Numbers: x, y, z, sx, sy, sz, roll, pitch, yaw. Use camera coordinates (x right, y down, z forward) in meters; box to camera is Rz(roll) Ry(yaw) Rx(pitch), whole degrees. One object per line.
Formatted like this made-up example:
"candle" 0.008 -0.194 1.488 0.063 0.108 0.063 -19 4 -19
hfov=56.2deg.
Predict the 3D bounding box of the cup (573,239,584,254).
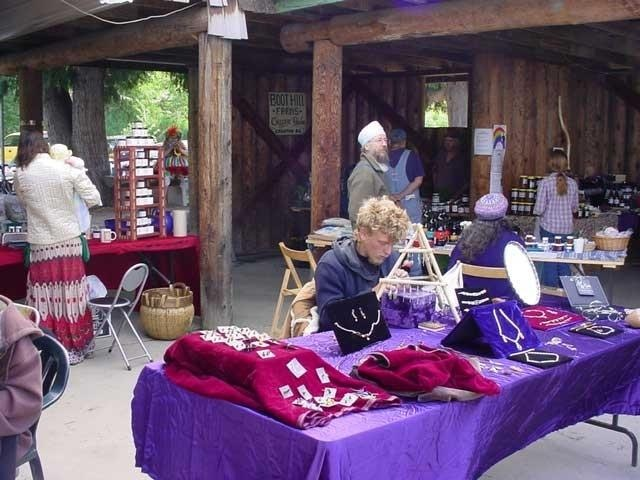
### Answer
"cup" 2.799 0.073 6.418 0.108 0.151 0.142 0 -1 -1

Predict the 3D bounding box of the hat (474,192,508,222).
"hat" 1.453 -0.308 5.112 0.192 0.174 0.277 -9 10 11

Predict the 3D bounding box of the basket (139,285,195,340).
"basket" -1.727 0.742 6.886 0.548 0.653 0.609 1 5 -3

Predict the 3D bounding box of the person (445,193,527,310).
"person" 1.465 0.096 5.257 0.567 1.339 0.595 13 52 21

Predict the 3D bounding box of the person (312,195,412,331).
"person" 0.255 0.163 3.871 0.585 0.846 0.376 -2 7 -1

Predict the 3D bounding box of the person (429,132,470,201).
"person" 2.482 -1.402 11.373 0.645 1.264 0.780 -1 7 10

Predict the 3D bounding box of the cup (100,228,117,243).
"cup" -2.350 -0.045 6.666 0.153 0.133 0.107 3 1 -1

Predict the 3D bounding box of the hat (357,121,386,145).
"hat" 0.547 -1.174 6.695 0.317 0.298 0.248 -14 0 37
